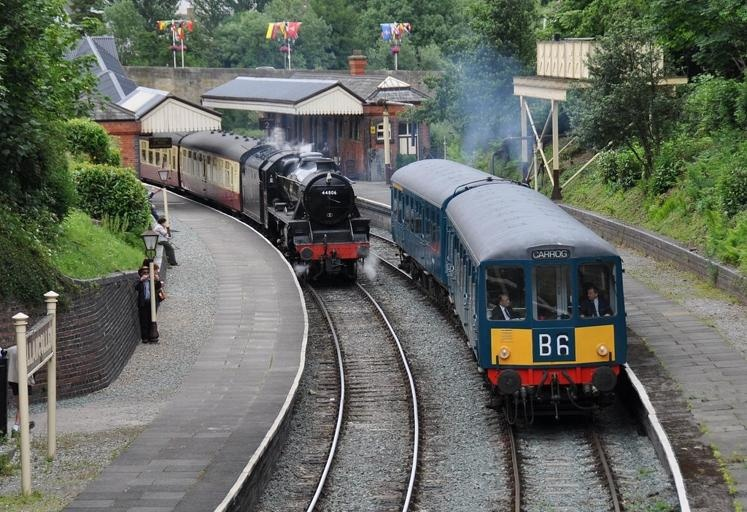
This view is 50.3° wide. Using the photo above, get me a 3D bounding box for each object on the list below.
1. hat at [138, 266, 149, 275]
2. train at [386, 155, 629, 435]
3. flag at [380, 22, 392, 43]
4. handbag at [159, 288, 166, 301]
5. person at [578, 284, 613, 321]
[{"bbox_3d":[-6.863,0.437,23.688,0.290,0.279,0.387,-9,16,-24],"label":"hat"},{"bbox_3d":[3.369,-0.416,24.554,2.882,3.954,14.477,-3,16,-4],"label":"train"},{"bbox_3d":[1.049,-18.212,64.487,0.799,1.020,1.101,-5,15,-9],"label":"flag"},{"bbox_3d":[-6.480,1.165,24.386,0.239,0.334,0.113,6,5,19],"label":"handbag"},{"bbox_3d":[5.134,1.081,18.449,0.628,1.383,0.427,-5,-9,-3],"label":"person"}]
